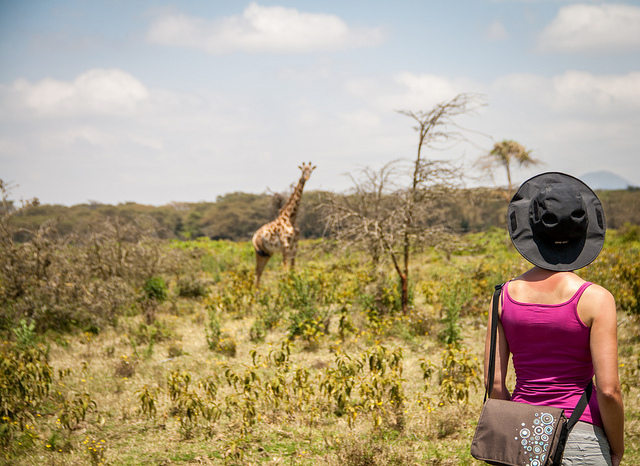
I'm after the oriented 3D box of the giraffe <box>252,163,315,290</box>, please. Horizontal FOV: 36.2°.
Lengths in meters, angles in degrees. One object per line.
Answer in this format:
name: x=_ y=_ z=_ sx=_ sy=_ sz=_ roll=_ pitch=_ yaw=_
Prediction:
giraffe: x=-0.640 y=-0.002 z=21.096 sx=1.689 sy=2.787 sz=0.705 roll=-6 pitch=-3 yaw=26
